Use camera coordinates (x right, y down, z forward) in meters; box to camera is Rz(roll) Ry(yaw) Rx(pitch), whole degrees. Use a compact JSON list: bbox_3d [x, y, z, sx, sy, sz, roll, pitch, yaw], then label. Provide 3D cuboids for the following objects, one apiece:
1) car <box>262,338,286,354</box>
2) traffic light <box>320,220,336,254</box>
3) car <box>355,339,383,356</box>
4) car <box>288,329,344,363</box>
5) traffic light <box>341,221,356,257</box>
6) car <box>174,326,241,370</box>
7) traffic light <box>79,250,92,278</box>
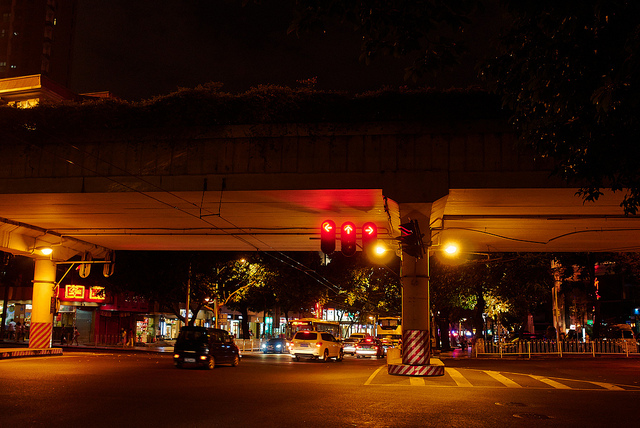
[{"bbox_3d":[-3.862,11.133,55.071,1.890,1.254,1.217,2,-16,-5],"label":"car"},{"bbox_3d":[0.351,0.931,28.547,0.599,1.476,0.583,2,-15,-5],"label":"traffic light"},{"bbox_3d":[3.653,9.741,47.645,1.861,1.181,1.046,1,-16,-1],"label":"car"},{"bbox_3d":[0.090,8.416,40.948,2.272,1.836,4.429,-15,-22,43],"label":"car"},{"bbox_3d":[1.260,1.073,28.314,0.658,1.379,0.324,2,-10,1],"label":"traffic light"},{"bbox_3d":[-5.590,6.635,32.060,1.219,1.995,3.300,-10,-19,35],"label":"car"},{"bbox_3d":[-15.225,3.130,41.986,0.351,2.005,1.128,7,-2,-32],"label":"traffic light"}]
